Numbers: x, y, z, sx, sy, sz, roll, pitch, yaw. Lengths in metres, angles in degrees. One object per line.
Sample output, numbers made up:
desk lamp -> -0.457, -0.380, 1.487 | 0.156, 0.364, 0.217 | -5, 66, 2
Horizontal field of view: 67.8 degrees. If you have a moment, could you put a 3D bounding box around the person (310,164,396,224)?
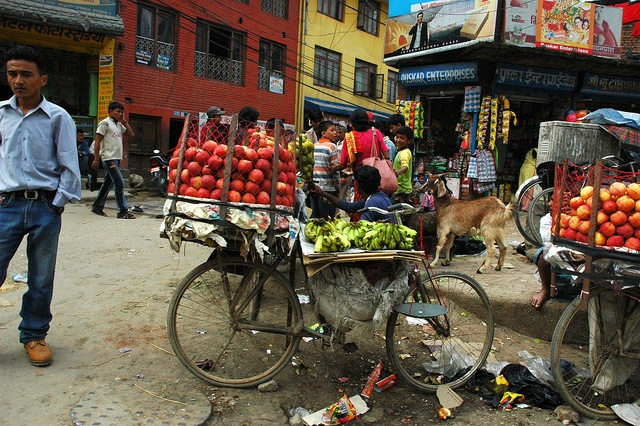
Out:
person -> 0.397, -0.268, 6.240 | 0.624, 1.026, 0.353 | 3, 38, 18

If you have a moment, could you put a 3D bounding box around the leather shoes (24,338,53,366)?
leather shoes -> -2.933, 1.411, 4.951 | 0.200, 0.231, 0.509 | -6, 9, -45

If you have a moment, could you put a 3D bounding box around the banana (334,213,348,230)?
banana -> 0.205, 0.075, 4.949 | 0.082, 0.204, 0.135 | -27, -28, -8

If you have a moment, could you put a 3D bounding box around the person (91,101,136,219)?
person -> -4.291, -1.081, 9.829 | 0.779, 2.393, 0.917 | -1, 10, -27

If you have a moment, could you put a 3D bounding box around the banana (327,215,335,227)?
banana -> 0.110, 0.087, 5.161 | 0.116, 0.086, 0.331 | 4, -9, 3

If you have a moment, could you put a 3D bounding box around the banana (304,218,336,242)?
banana -> -0.033, 0.162, 4.701 | 0.205, 0.154, 0.277 | 3, 6, 9

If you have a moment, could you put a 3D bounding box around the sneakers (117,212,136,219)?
sneakers -> -4.107, 0.051, 10.037 | 0.332, 0.144, 0.144 | 1, 1, -8

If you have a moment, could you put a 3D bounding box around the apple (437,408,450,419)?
apple -> 1.191, 1.932, 4.572 | 0.086, 0.090, 0.032 | 5, 27, 3

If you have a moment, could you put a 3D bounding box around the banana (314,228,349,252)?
banana -> 0.090, 0.273, 4.632 | 0.199, 0.126, 0.265 | -7, 10, -9

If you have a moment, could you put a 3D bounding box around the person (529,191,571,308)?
person -> 2.849, 0.386, 5.915 | 0.440, 1.405, 0.400 | 14, -4, 6

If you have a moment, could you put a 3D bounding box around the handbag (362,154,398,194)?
handbag -> 0.850, -0.590, 6.835 | 0.528, 0.700, 0.275 | 3, -13, -35
